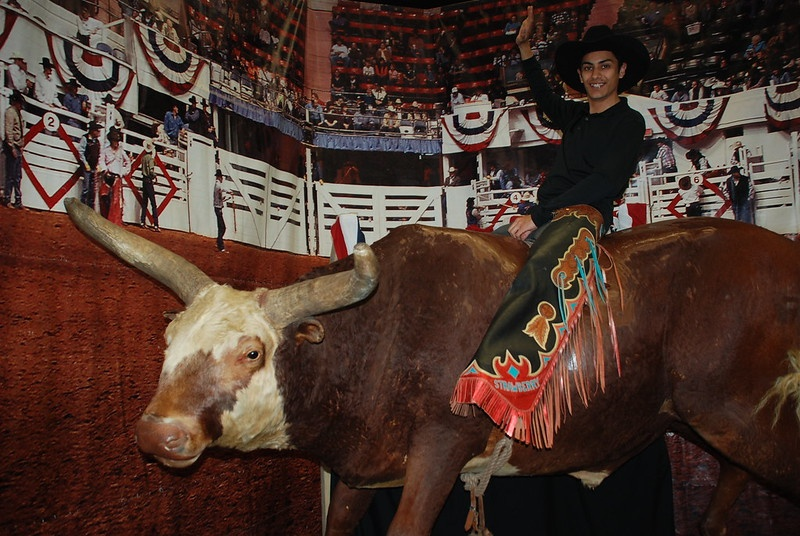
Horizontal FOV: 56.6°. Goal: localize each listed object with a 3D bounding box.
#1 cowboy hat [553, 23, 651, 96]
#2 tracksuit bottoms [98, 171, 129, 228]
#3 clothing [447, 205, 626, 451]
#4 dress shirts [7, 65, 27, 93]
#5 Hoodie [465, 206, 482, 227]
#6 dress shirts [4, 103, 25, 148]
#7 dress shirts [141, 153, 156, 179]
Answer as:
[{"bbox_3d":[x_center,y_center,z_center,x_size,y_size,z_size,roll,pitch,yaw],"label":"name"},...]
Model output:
[{"bbox_3d":[1.382,-1.356,4.971,0.524,0.219,0.561,-2,-26,21],"label":"cowboy hat"},{"bbox_3d":[-1.892,-0.490,4.933,0.136,0.429,0.127,31,25,14],"label":"tracksuit bottoms"},{"bbox_3d":[0.879,0.351,4.211,0.765,1.420,0.417,15,-11,36],"label":"clothing"},{"bbox_3d":[-2.344,-1.149,4.523,0.087,0.113,0.133,-13,32,-2],"label":"dress shirts"},{"bbox_3d":[0.637,-0.434,6.274,0.151,0.171,0.094,1,-23,-1],"label":"Hoodie"},{"bbox_3d":[-2.341,-0.855,4.491,0.040,0.240,0.119,5,3,43],"label":"dress shirts"},{"bbox_3d":[-1.726,-0.705,5.089,0.093,0.164,0.037,2,2,-33],"label":"dress shirts"}]
